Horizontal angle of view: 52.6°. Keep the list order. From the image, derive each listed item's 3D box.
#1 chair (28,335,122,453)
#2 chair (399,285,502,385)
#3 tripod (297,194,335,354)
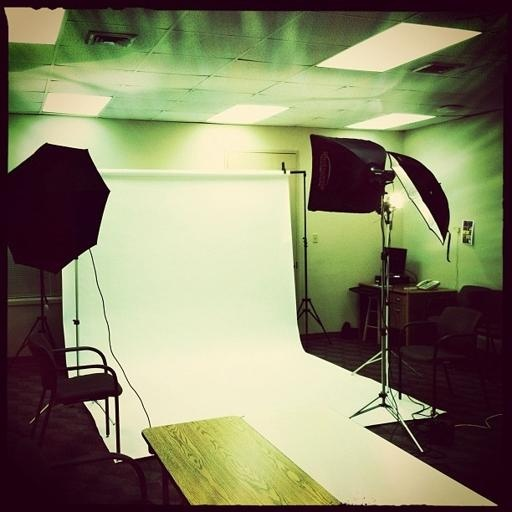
[{"bbox_3d":[-1.201,0.916,3.451,0.604,0.789,0.640,0,6,0],"label":"chair"},{"bbox_3d":[1.920,0.774,5.032,0.813,1.238,0.796,2,0,-25],"label":"chair"},{"bbox_3d":[0.741,0.134,6.538,0.424,1.925,0.680,0,5,6],"label":"tripod"}]
